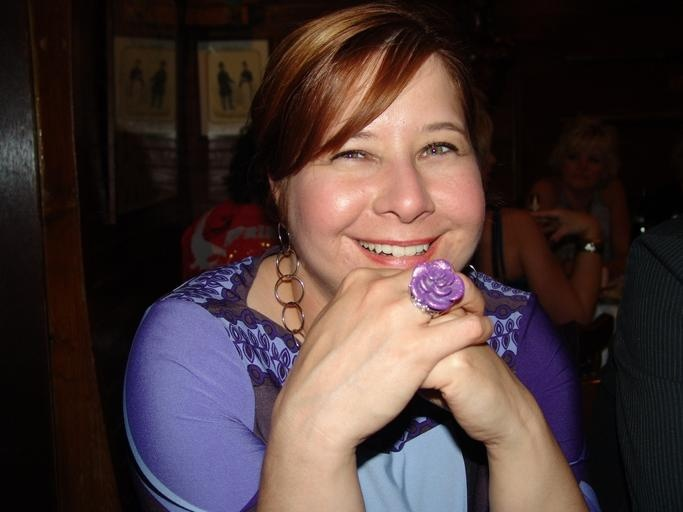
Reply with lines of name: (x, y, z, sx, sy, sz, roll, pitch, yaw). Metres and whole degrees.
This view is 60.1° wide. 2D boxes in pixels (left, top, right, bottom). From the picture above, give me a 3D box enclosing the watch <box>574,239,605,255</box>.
watch: (1.078, -0.038, 2.549, 0.066, 0.031, 0.067, 8, -11, -12)
